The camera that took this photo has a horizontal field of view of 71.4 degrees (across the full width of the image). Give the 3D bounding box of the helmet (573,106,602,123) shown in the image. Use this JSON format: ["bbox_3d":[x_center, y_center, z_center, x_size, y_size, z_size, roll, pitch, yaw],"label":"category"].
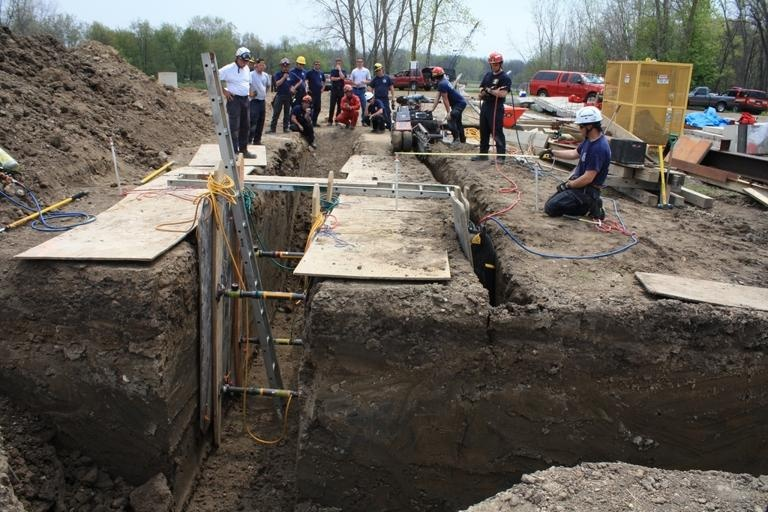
[{"bbox_3d":[2.850,-1.917,7.508,0.365,0.190,0.283,9,38,24],"label":"helmet"}]

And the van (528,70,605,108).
[{"bbox_3d":[8.058,-7.400,23.249,1.415,1.073,4.015,-5,21,-15],"label":"van"}]

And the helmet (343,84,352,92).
[{"bbox_3d":[-1.021,-4.744,15.218,0.197,0.147,0.275,-39,22,4],"label":"helmet"}]

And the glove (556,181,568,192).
[{"bbox_3d":[2.639,-1.015,7.916,0.118,0.064,0.152,2,24,16],"label":"glove"}]

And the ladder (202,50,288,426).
[{"bbox_3d":[-2.059,-0.155,7.953,0.428,6.933,0.364,-14,7,-31],"label":"ladder"}]

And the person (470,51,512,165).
[{"bbox_3d":[2.143,-2.875,10.557,0.660,2.019,1.204,4,21,9],"label":"person"}]

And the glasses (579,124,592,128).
[{"bbox_3d":[2.831,-1.815,7.487,0.161,0.044,0.055,17,26,37],"label":"glasses"}]

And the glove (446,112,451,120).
[{"bbox_3d":[1.480,-3.154,12.138,0.038,0.136,0.101,12,-9,-43],"label":"glove"}]

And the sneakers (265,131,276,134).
[{"bbox_3d":[-2.932,-3.170,13.791,0.262,0.108,0.112,4,14,-3],"label":"sneakers"}]

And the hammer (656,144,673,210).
[{"bbox_3d":[4.925,-1.509,9.439,0.316,1.483,0.140,0,0,-3],"label":"hammer"}]

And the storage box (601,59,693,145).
[{"bbox_3d":[5.170,-3.134,10.731,0.939,1.223,1.687,5,16,-16],"label":"storage box"}]

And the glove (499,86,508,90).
[{"bbox_3d":[2.230,-3.079,9.897,0.056,0.092,0.193,-13,24,-31],"label":"glove"}]

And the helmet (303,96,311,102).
[{"bbox_3d":[-1.966,-4.006,13.691,0.149,0.110,0.213,39,47,15],"label":"helmet"}]

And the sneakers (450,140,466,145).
[{"bbox_3d":[1.742,-2.665,12.578,0.331,0.156,0.110,-10,-2,-15],"label":"sneakers"}]

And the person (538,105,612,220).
[{"bbox_3d":[2.873,-1.345,7.809,0.870,1.587,0.807,8,22,21],"label":"person"}]
